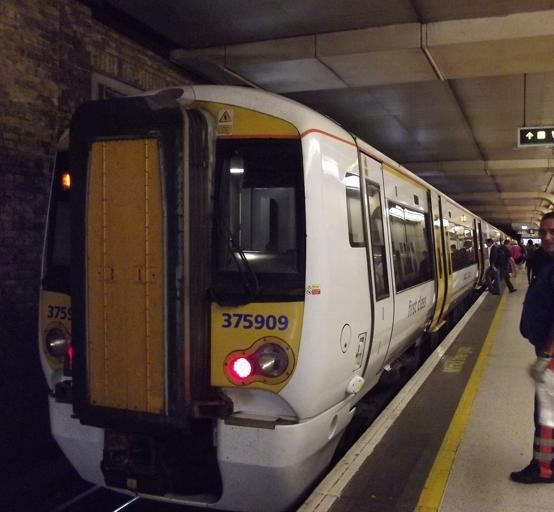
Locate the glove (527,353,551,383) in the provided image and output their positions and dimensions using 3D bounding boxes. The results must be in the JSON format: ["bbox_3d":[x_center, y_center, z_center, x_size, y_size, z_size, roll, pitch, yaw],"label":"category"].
[{"bbox_3d":[1.806,0.776,3.640,0.079,0.220,0.211,1,2,0],"label":"glove"}]

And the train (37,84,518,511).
[{"bbox_3d":[0.451,0.113,5.623,1.440,2.047,6.091,-2,1,21],"label":"train"}]
